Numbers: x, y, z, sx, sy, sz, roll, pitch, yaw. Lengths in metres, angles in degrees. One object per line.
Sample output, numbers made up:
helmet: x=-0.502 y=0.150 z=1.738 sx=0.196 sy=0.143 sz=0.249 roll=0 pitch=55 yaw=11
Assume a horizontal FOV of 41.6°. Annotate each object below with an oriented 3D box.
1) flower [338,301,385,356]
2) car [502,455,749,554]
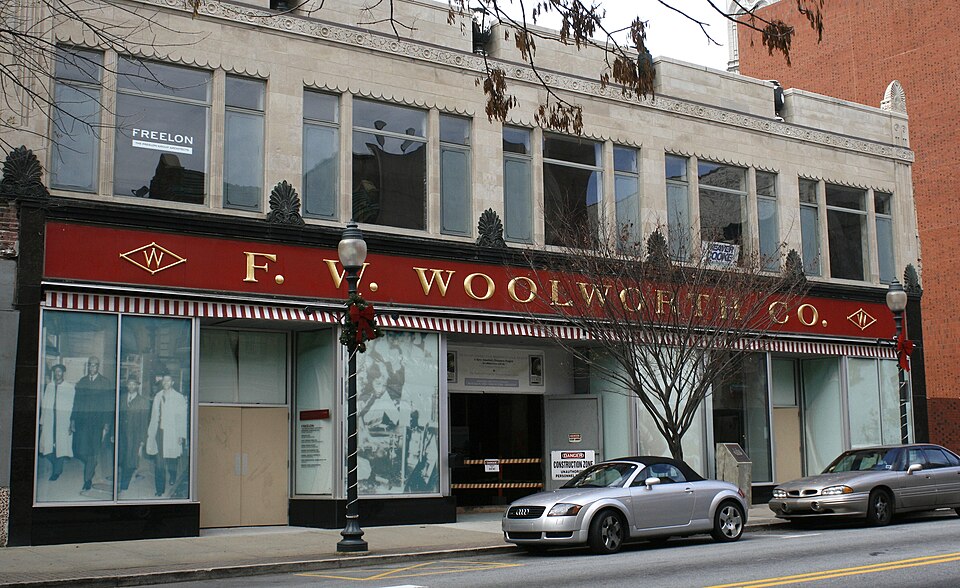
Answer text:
flower: x=-3.122 y=0.880 z=32.784 sx=1.113 sy=1.214 sz=1.433 roll=-8 pitch=-20 yaw=-7
car: x=3.762 y=5.355 z=32.366 sx=5.900 sy=2.446 sz=1.360 roll=4 pitch=-13 yaw=-20
